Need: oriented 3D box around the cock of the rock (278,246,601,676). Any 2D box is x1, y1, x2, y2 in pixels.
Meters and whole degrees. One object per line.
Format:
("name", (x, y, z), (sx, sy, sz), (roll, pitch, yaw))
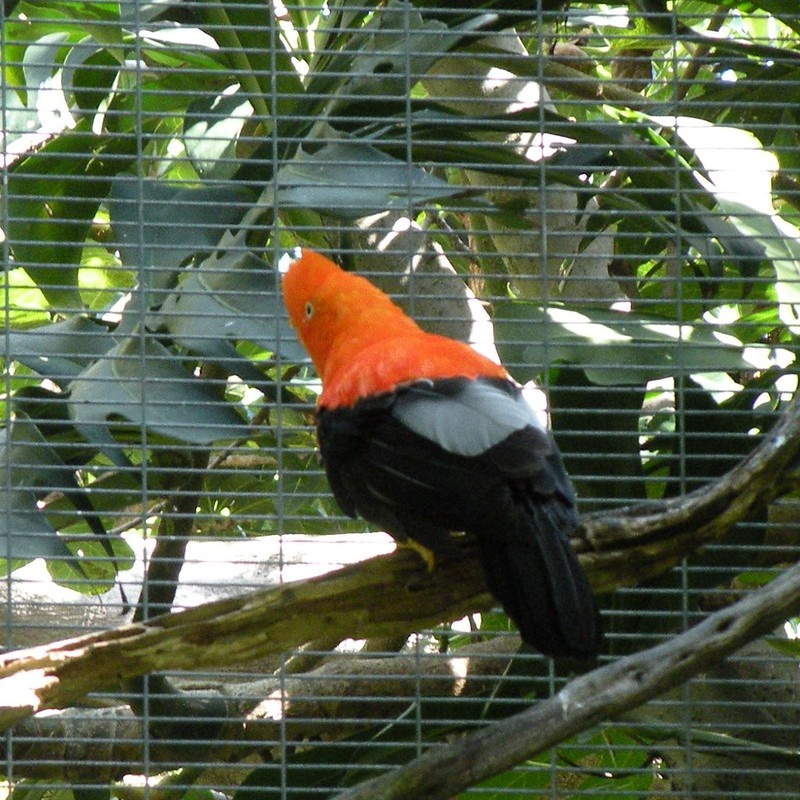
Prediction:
("cock of the rock", (0.177, 0.128, 5.834), (0.538, 1.321, 0.640), (-26, -43, -11))
